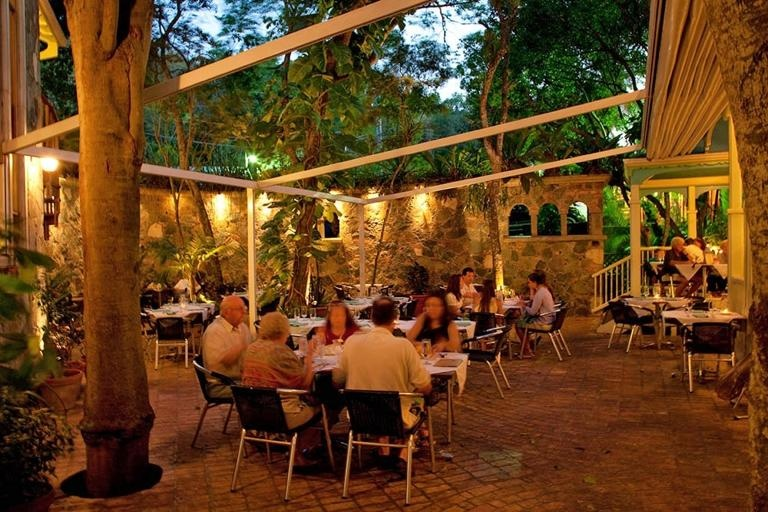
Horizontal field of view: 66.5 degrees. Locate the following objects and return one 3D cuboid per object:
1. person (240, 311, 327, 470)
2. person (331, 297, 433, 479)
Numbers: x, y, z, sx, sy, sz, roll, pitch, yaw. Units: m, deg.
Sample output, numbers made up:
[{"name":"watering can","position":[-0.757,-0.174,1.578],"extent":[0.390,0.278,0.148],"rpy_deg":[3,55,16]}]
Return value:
[{"name":"person","position":[-0.913,1.292,5.493],"extent":[0.826,1.525,0.719],"rpy_deg":[-4,5,-32]},{"name":"person","position":[-0.022,1.234,5.372],"extent":[0.890,1.644,0.655],"rpy_deg":[-1,4,3]}]
